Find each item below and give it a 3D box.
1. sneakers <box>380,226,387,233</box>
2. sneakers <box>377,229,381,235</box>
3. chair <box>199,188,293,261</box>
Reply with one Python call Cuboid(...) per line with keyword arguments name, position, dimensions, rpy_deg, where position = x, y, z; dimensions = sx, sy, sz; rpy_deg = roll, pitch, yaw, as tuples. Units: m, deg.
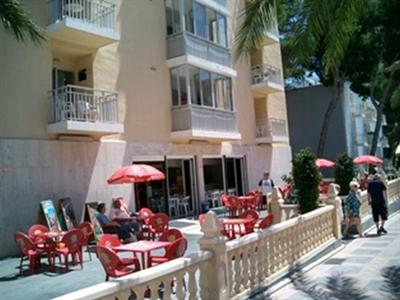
Cuboid(name="sneakers", position=(6.842, 3.005, 13.193), dimensions=(0.357, 0.183, 0.141), rpy_deg=(3, 0, -12))
Cuboid(name="sneakers", position=(6.579, 3.046, 13.025), dimensions=(0.094, 0.172, 0.166), rpy_deg=(0, 0, 13))
Cuboid(name="chair", position=(1.862, 2.021, 11.118), dimensions=(2.062, 1.280, 3.011), rpy_deg=(-6, -3, 30))
